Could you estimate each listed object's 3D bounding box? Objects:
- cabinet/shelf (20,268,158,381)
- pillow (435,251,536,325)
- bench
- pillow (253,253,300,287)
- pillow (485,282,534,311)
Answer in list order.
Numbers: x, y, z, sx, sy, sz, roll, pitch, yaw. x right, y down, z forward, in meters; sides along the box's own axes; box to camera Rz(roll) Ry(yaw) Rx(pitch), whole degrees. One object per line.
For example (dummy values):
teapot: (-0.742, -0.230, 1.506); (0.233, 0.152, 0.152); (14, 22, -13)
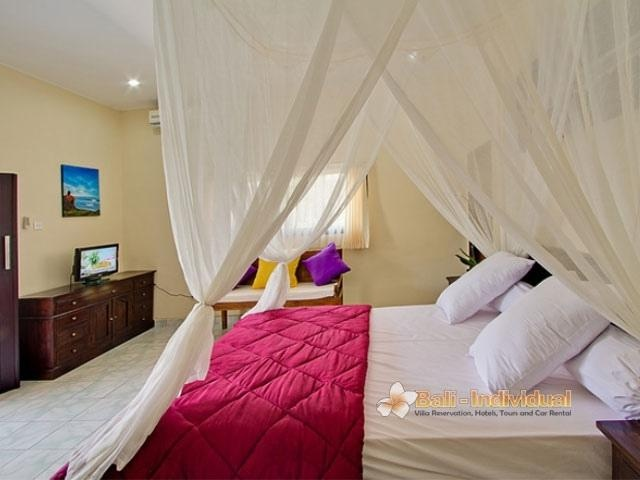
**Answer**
cabinet/shelf: (-2.497, 0.824, 4.769); (0.414, 0.794, 1.706); (2, 6, 13)
pillow: (1.370, 0.303, 3.602); (0.884, 0.278, 0.897); (-13, -7, 39)
bench: (-0.521, 0.608, 5.032); (1.609, 1.140, 0.698); (-3, -3, 12)
pillow: (-0.588, 0.360, 4.907); (0.402, 0.459, 0.175); (1, -10, 14)
pillow: (1.406, 0.421, 3.141); (0.224, 0.064, 0.235); (-47, -5, 23)
